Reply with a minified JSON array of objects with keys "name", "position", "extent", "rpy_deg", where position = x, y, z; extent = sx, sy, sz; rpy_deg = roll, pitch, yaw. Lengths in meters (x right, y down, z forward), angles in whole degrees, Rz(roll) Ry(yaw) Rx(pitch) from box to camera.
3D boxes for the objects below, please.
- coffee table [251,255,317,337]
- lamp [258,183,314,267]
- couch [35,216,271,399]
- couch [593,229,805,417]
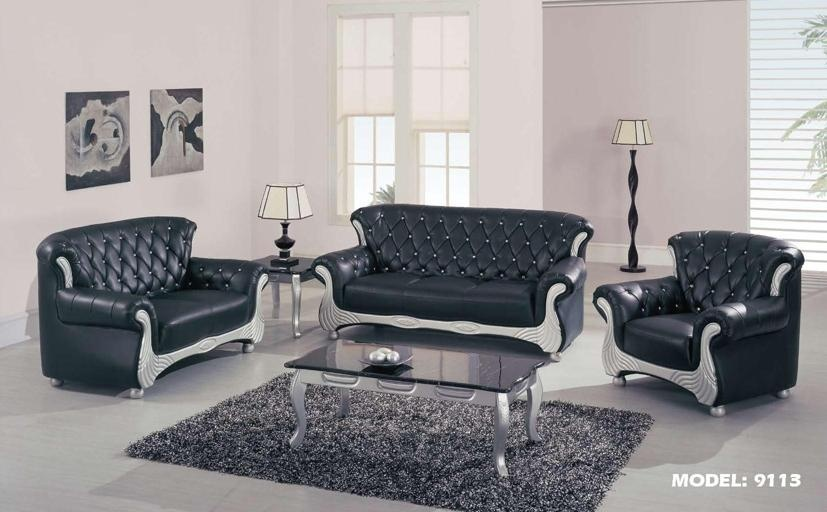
[{"name":"coffee table","position":[-1.381,0.456,7.546],"extent":[0.863,0.794,0.846],"rpy_deg":[3,8,16]},{"name":"lamp","position":[-1.449,-0.316,7.444],"extent":[0.654,0.756,0.534],"rpy_deg":[-3,3,0]},{"name":"couch","position":[-2.454,0.380,6.515],"extent":[1.236,1.330,2.085],"rpy_deg":[6,10,13]},{"name":"couch","position":[2.527,0.526,5.962],"extent":[1.221,1.235,1.454],"rpy_deg":[-9,10,-21]}]
